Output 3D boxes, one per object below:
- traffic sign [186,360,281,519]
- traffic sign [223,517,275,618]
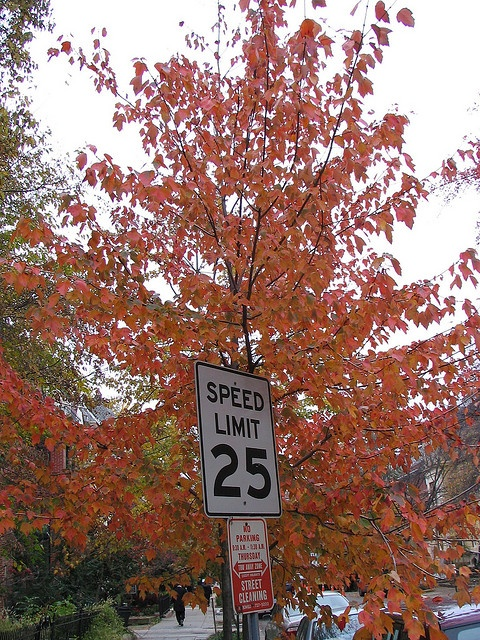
[{"bbox_3d":[-0.011,0.553,2.479,0.094,0.724,0.620,-24,-35,28],"label":"traffic sign"},{"bbox_3d":[0.046,1.085,2.382,0.167,0.399,0.363,-8,-30,3],"label":"traffic sign"}]
